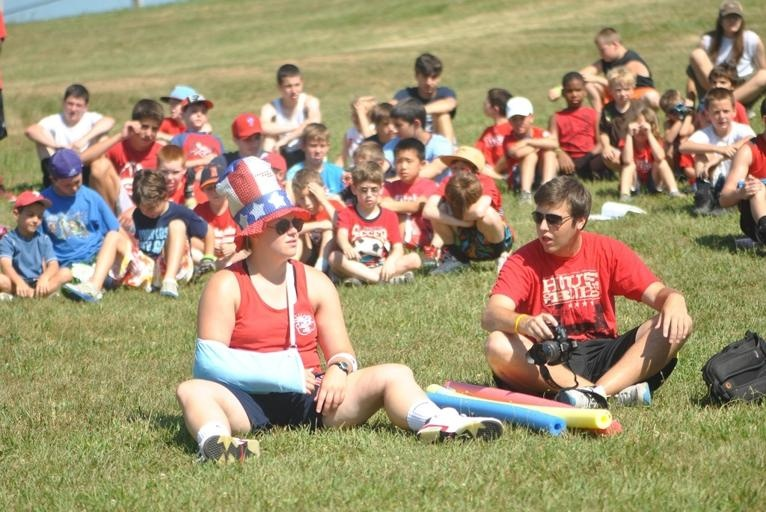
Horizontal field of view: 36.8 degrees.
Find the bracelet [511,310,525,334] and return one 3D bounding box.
[{"bbox_3d":[1.429,0.696,11.987,0.135,0.182,0.100,-17,25,-27],"label":"bracelet"}]

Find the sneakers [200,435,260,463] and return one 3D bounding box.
[{"bbox_3d":[-1.529,1.901,11.394,0.453,0.293,0.194,7,4,4],"label":"sneakers"}]

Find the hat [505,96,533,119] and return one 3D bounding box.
[{"bbox_3d":[2.119,-2.283,17.793,0.398,0.315,0.434,-4,22,2],"label":"hat"}]

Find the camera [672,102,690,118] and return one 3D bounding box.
[{"bbox_3d":[4.607,-2.259,17.640,0.164,0.114,0.265,15,0,9],"label":"camera"}]

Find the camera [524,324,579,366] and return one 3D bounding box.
[{"bbox_3d":[1.794,0.904,11.864,0.357,0.346,0.366,-13,14,-16],"label":"camera"}]

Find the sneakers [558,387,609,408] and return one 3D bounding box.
[{"bbox_3d":[2.076,1.404,11.768,0.427,0.202,0.212,-2,8,-8],"label":"sneakers"}]

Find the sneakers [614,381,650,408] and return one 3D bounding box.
[{"bbox_3d":[2.611,1.437,12.000,0.334,0.144,0.187,1,3,28],"label":"sneakers"}]

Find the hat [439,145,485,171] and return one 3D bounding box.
[{"bbox_3d":[1.116,-1.406,16.543,0.541,0.164,0.389,22,-10,-30],"label":"hat"}]

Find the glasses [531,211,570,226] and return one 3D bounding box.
[{"bbox_3d":[1.772,-0.409,12.111,0.413,0.143,0.133,3,24,20],"label":"glasses"}]
